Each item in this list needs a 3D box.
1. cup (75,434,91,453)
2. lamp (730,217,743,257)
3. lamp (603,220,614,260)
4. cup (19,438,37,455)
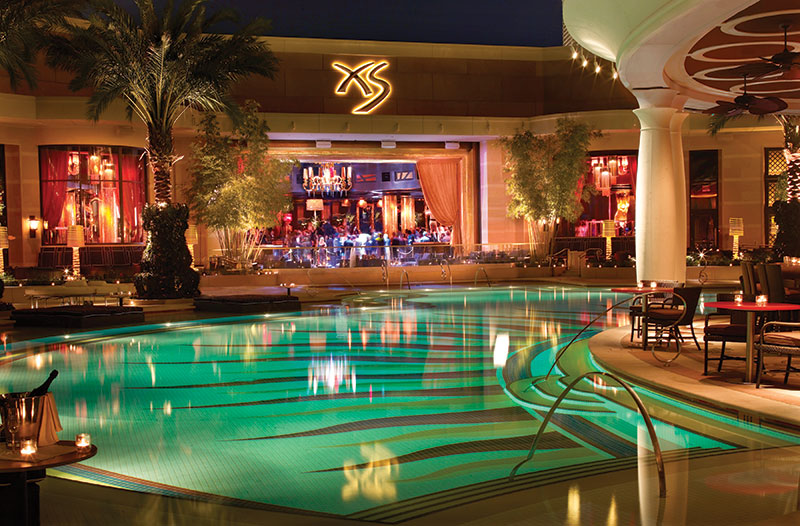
[{"bbox_3d":[-2.561,1.453,5.073,0.127,0.117,0.122,-1,-1,0],"label":"cup"},{"bbox_3d":[14.007,-1.075,26.089,0.403,1.585,3.565,1,4,28],"label":"lamp"},{"bbox_3d":[9.353,-1.066,28.041,0.510,1.649,3.887,0,4,17],"label":"lamp"},{"bbox_3d":[-2.927,1.436,4.941,0.124,0.120,0.124,0,-2,0],"label":"cup"}]
